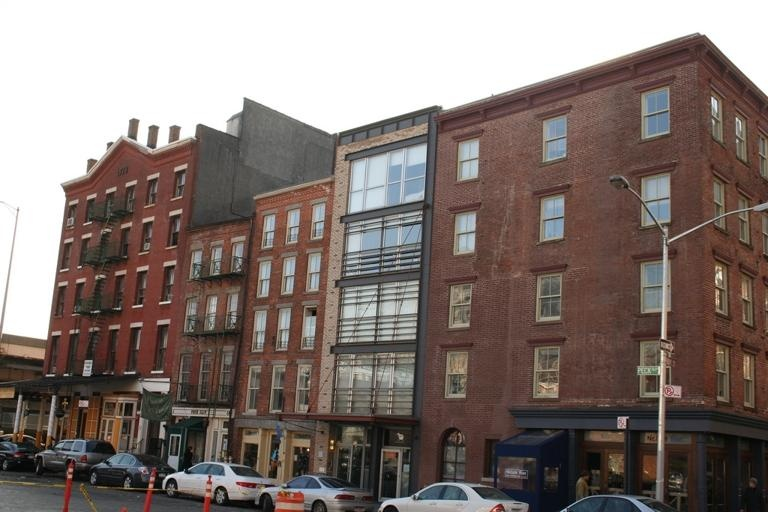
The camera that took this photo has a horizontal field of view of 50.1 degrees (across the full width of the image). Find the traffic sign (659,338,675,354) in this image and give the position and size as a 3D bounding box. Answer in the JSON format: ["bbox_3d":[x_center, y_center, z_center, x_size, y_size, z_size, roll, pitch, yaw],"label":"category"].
[{"bbox_3d":[11.936,3.759,34.442,0.091,0.370,1.131,8,-8,38],"label":"traffic sign"}]
